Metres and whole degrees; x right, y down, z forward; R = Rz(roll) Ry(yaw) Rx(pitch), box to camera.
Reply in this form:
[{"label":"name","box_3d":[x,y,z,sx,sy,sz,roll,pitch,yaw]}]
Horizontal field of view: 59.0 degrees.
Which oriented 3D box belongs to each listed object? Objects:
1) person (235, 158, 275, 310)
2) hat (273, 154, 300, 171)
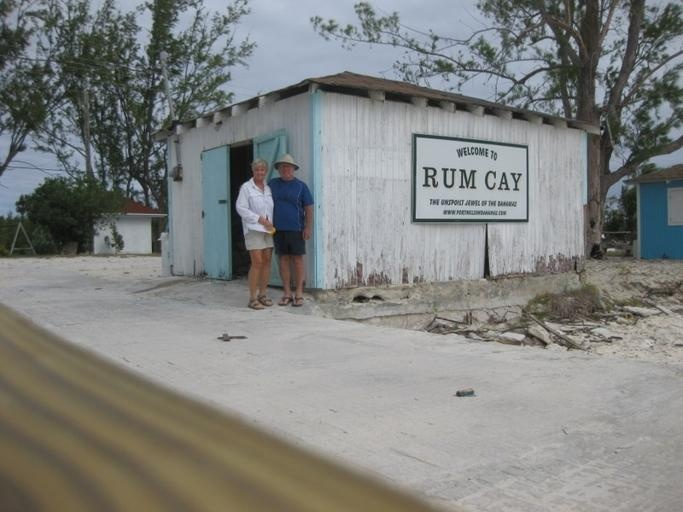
[{"label":"person","box_3d":[-1.190,-0.316,8.366,0.471,2.028,0.683,2,8,14]},{"label":"hat","box_3d":[-0.784,-1.365,8.824,0.290,0.164,0.357,5,-17,5]}]
